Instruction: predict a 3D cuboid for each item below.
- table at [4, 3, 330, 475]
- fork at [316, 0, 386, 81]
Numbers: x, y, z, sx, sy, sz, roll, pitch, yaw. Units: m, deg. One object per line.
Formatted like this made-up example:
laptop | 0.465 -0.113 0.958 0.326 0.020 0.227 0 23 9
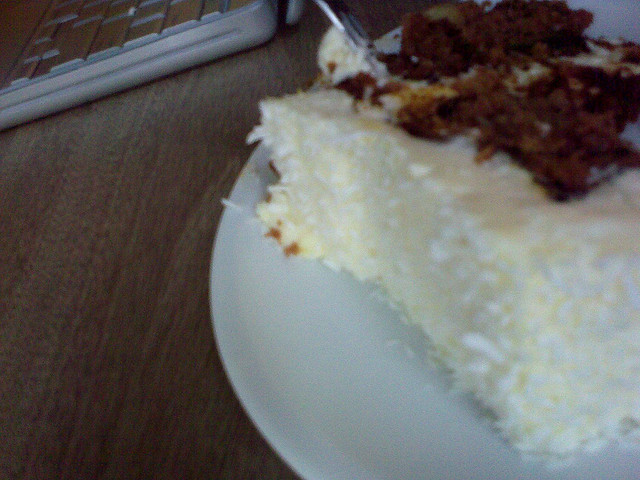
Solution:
table | -0.213 0.028 0.685 0.405 0.138 0.504 -15 72 2
fork | 0.031 -0.214 0.683 0.023 0.009 0.120 -31 85 -5
